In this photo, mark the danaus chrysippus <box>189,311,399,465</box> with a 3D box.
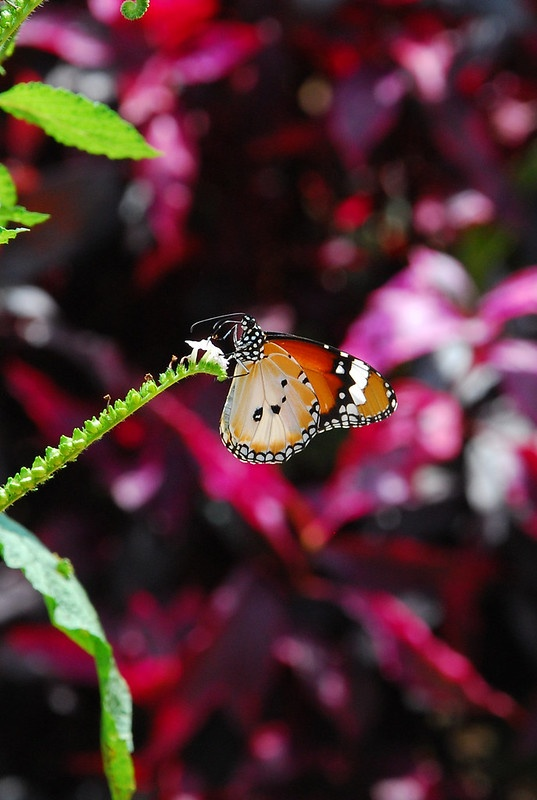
[{"bbox_3d":[0.023,-0.008,0.496,0.101,0.073,0.090,-4,82,1],"label":"danaus chrysippus"}]
